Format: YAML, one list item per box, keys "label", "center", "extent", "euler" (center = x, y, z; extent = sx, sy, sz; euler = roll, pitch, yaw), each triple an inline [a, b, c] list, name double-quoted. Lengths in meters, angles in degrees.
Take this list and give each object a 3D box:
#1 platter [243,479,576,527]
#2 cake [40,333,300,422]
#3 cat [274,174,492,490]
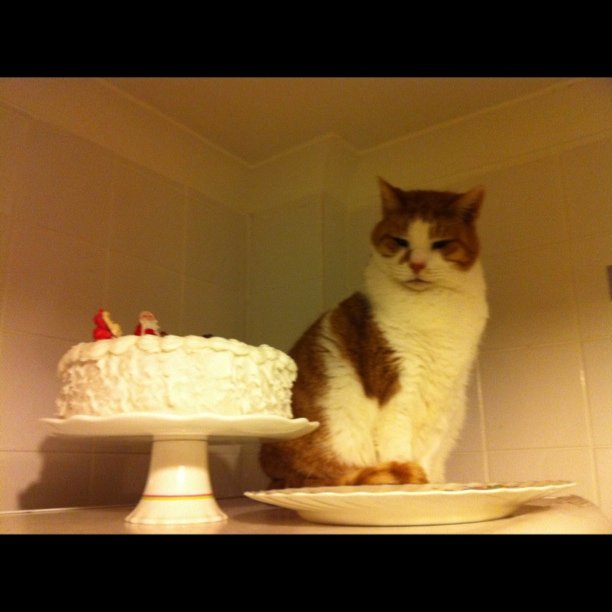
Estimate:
- label: "platter"
  center: [0.113, 0.223, 0.745]
  extent: [0.357, 0.047, 0.226]
  euler: [1, -16, -4]
- label: "cake"
  center: [-0.172, 0.084, 0.845]
  extent: [0.319, 0.126, 0.132]
  euler: [0, -17, -2]
- label: "cat"
  center: [0.136, 0.046, 1.065]
  extent: [0.377, 0.522, 0.212]
  euler: [-22, -46, 30]
